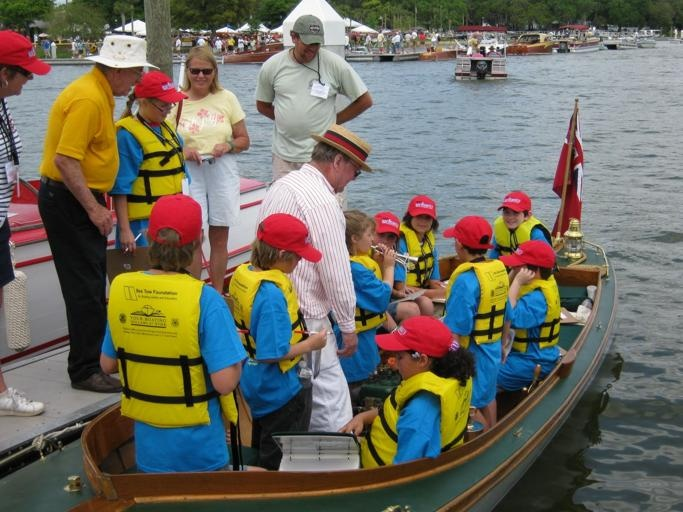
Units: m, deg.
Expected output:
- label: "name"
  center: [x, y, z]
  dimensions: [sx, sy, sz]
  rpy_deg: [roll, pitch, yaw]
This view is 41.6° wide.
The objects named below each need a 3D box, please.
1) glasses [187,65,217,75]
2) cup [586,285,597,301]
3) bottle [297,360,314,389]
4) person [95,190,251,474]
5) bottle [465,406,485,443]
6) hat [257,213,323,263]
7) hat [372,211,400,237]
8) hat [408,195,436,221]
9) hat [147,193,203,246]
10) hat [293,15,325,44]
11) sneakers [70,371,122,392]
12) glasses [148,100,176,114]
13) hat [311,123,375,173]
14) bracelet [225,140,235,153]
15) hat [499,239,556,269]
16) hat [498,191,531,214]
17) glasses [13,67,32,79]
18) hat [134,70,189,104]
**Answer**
- label: "glasses"
  center: [-1.283, -1.718, 8.299]
  dimensions: [0.204, 0.067, 0.062]
  rpy_deg: [-4, 13, -17]
- label: "cup"
  center: [2.863, 0.406, 10.319]
  dimensions: [0.133, 0.189, 0.143]
  rpy_deg: [-2, 15, 1]
- label: "bottle"
  center: [-0.263, 0.867, 6.627]
  dimensions: [0.127, 0.187, 0.179]
  rpy_deg: [-1, -9, -10]
- label: "person"
  center: [-1.100, 0.795, 6.040]
  dimensions: [0.970, 1.409, 0.273]
  rpy_deg: [2, 12, 13]
- label: "bottle"
  center: [1.109, 1.412, 7.552]
  dimensions: [0.210, 0.231, 0.216]
  rpy_deg: [-2, 13, -1]
- label: "hat"
  center: [-0.353, -0.132, 6.453]
  dimensions: [0.418, 0.219, 0.294]
  rpy_deg: [19, 19, -20]
- label: "hat"
  center: [0.432, -0.319, 8.493]
  dimensions: [0.168, 0.144, 0.257]
  rpy_deg: [5, 4, -11]
- label: "hat"
  center: [0.802, -0.499, 9.102]
  dimensions: [0.197, 0.155, 0.279]
  rpy_deg: [3, 4, 0]
- label: "hat"
  center: [-1.096, -0.244, 5.925]
  dimensions: [0.345, 0.305, 0.220]
  rpy_deg: [-3, 12, -10]
- label: "hat"
  center: [-0.282, -2.098, 8.256]
  dimensions: [0.208, 0.171, 0.295]
  rpy_deg: [-11, 47, -33]
- label: "sneakers"
  center: [-2.003, 1.045, 7.424]
  dimensions: [0.396, 0.167, 0.165]
  rpy_deg: [1, 5, 5]
- label: "glasses"
  center: [-1.489, -1.271, 7.533]
  dimensions: [0.207, 0.099, 0.133]
  rpy_deg: [16, 22, 29]
- label: "hat"
  center: [0.039, -0.775, 6.765]
  dimensions: [0.409, 0.135, 0.350]
  rpy_deg: [33, -2, -20]
- label: "bracelet"
  center: [-1.041, -1.038, 8.447]
  dimensions: [0.070, 0.083, 0.109]
  rpy_deg: [-2, 42, -3]
- label: "hat"
  center: [1.720, -0.024, 8.311]
  dimensions: [0.394, 0.211, 0.255]
  rpy_deg: [8, 10, 5]
- label: "hat"
  center: [1.941, -0.598, 9.973]
  dimensions: [0.242, 0.211, 0.373]
  rpy_deg: [6, 2, 40]
- label: "glasses"
  center: [-2.396, -1.398, 6.748]
  dimensions: [0.025, 0.088, 0.083]
  rpy_deg: [24, 6, 4]
- label: "hat"
  center: [-1.502, -1.423, 7.446]
  dimensions: [0.346, 0.187, 0.245]
  rpy_deg: [-3, 23, -5]
